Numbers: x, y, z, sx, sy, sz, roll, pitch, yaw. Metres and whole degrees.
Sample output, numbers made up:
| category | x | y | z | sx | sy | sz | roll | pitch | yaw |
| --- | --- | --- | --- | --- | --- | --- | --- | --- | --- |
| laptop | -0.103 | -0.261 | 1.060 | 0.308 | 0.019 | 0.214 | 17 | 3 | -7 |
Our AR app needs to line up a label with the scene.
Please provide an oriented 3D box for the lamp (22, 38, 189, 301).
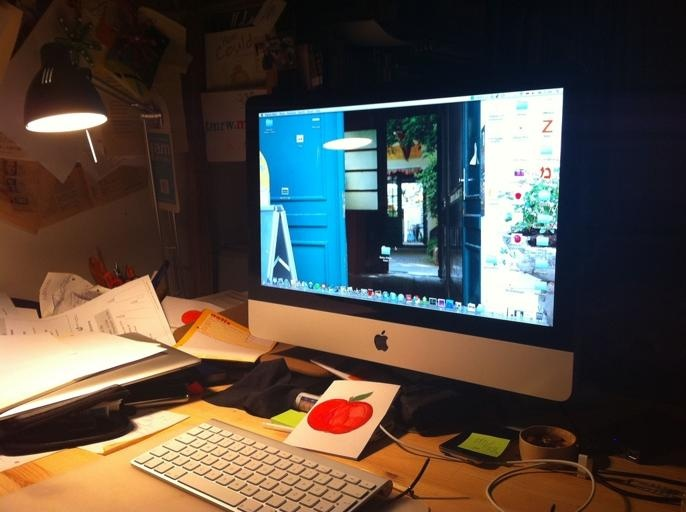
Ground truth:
| category | x | y | z | sx | sy | sz | roll | pitch | yaw |
| --- | --- | --- | --- | --- | --- | --- | --- | --- | --- |
| lamp | -0.651 | -0.219 | 1.411 | 0.346 | 0.763 | 0.418 | -3 | 11 | -18 |

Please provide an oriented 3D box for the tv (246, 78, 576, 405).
| category | x | y | z | sx | sy | sz | roll | pitch | yaw |
| --- | --- | --- | --- | --- | --- | --- | --- | --- | --- |
| tv | 0.136 | -0.027 | 0.907 | 0.606 | 0.471 | 0.027 | 3 | 6 | 28 |
